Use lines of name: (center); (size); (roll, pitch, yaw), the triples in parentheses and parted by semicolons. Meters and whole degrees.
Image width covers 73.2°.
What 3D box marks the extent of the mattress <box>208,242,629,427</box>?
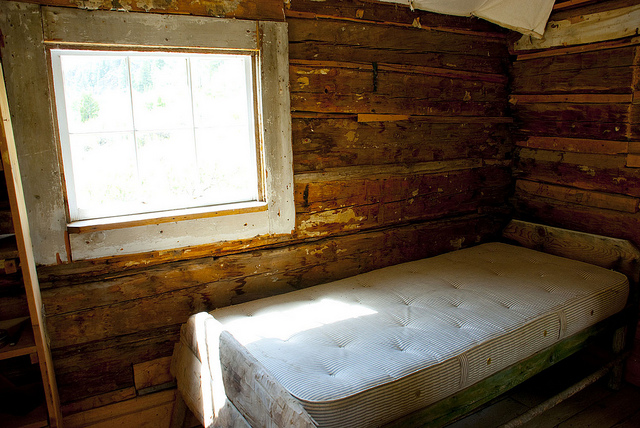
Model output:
mattress: (0.766, 0.671, 2.738); (2.589, 0.190, 1.033); (-7, 11, -30)
